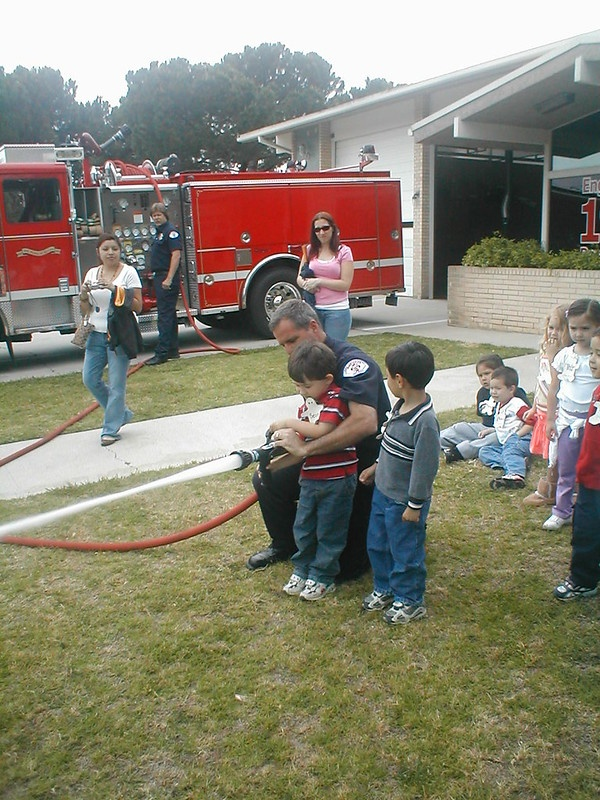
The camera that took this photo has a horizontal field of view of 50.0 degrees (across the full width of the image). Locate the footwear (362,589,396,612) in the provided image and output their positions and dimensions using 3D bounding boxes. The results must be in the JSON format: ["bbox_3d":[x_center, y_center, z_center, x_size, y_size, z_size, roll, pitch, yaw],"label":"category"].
[{"bbox_3d":[0.327,0.841,2.694,0.136,0.059,0.056,0,-3,-30],"label":"footwear"}]

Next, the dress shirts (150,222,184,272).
[{"bbox_3d":[-1.807,-2.052,8.681,0.411,0.804,0.857,-5,14,-26],"label":"dress shirts"}]

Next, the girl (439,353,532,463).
[{"bbox_3d":[1.319,0.076,4.709,0.687,0.650,0.403,-8,23,-23],"label":"girl"}]

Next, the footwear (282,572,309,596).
[{"bbox_3d":[-0.030,0.820,2.832,0.056,0.050,0.122,-3,-7,12],"label":"footwear"}]

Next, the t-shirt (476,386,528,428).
[{"bbox_3d":[1.413,0.045,4.492,0.113,0.233,0.289,-30,11,-18],"label":"t-shirt"}]

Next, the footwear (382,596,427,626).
[{"bbox_3d":[0.413,0.847,2.604,0.188,0.082,0.068,-3,1,-26],"label":"footwear"}]

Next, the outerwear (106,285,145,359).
[{"bbox_3d":[-1.408,-0.614,5.201,0.260,0.577,0.253,2,-8,-10],"label":"outerwear"}]

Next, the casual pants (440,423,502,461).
[{"bbox_3d":[1.232,0.293,4.746,0.443,0.169,0.318,-8,10,-26],"label":"casual pants"}]

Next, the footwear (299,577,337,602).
[{"bbox_3d":[0.075,0.834,2.831,0.063,0.066,0.151,-6,-5,40],"label":"footwear"}]

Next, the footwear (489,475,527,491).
[{"bbox_3d":[1.306,0.524,4.061,0.221,0.079,0.093,5,-1,-4],"label":"footwear"}]

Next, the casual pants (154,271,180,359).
[{"bbox_3d":[-1.808,-1.114,8.666,0.318,1.225,0.337,-3,-9,23],"label":"casual pants"}]

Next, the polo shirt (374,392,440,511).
[{"bbox_3d":[0.401,0.198,2.484,0.196,0.414,0.438,3,16,-13],"label":"polo shirt"}]

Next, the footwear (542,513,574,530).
[{"bbox_3d":[1.382,0.652,3.493,0.209,0.080,0.068,-3,-4,-28],"label":"footwear"}]

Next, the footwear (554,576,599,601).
[{"bbox_3d":[1.177,0.794,2.702,0.217,0.097,0.076,0,7,-5],"label":"footwear"}]

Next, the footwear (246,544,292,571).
[{"bbox_3d":[-0.155,0.770,3.183,0.233,0.093,0.087,-1,4,-36],"label":"footwear"}]

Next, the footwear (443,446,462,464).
[{"bbox_3d":[1.088,0.388,4.630,0.124,0.105,0.097,-10,11,3],"label":"footwear"}]

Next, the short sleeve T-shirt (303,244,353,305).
[{"bbox_3d":[0.251,-1.186,6.132,0.549,0.638,0.352,-1,8,19],"label":"short sleeve T-shirt"}]
